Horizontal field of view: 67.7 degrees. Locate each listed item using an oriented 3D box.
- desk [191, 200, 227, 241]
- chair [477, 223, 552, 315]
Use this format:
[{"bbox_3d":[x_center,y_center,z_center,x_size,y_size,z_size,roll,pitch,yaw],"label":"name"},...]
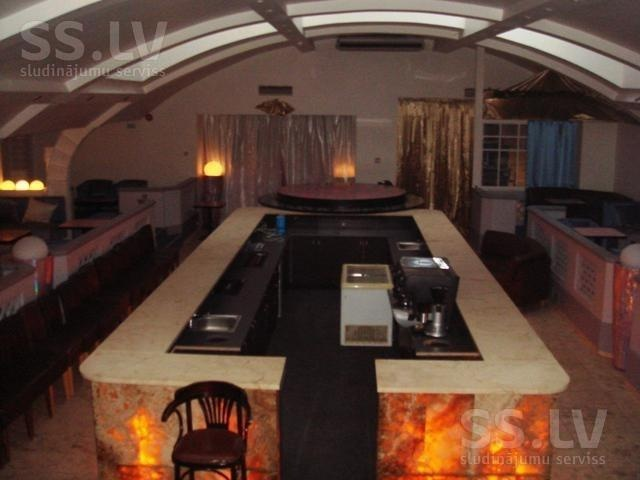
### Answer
[{"bbox_3d":[-2.956,-0.643,12.457,0.974,0.923,0.931,4,36,1],"label":"desk"},{"bbox_3d":[3.220,0.506,7.976,0.873,1.174,0.895,-5,10,-23],"label":"chair"}]
